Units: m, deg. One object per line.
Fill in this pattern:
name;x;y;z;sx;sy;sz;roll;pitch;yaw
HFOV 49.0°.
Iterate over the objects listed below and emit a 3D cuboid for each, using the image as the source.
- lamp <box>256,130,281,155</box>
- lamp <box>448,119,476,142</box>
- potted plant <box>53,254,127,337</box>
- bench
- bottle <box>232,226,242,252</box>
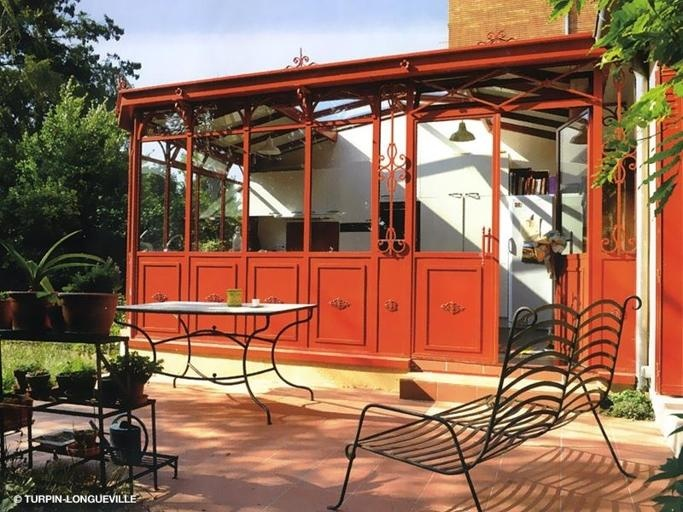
lamp;-0.963;-1.473;9.734;0.249;0.268;0.243;-1;-1;33
lamp;1.460;-1.470;8.978;0.247;0.190;0.258;-4;-7;29
potted plant;-2.152;0.345;6.356;0.509;0.651;0.262;-1;-3;-18
bench;1.914;1.282;7.666;2.127;1.692;4.371;-3;-3;24
bottle;-1.384;-0.236;9.803;0.154;0.324;0.023;-3;-3;24
